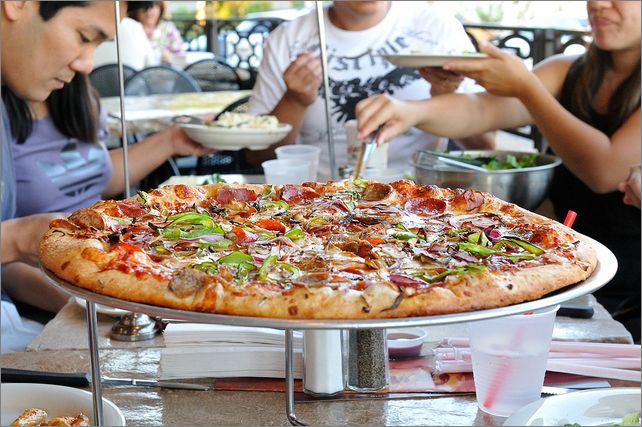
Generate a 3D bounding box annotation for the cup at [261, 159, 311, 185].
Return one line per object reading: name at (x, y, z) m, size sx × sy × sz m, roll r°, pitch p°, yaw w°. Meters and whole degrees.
cup at (-0.147, -0.181, 2.202) m, size 0.175 × 0.102 × 0.158 m, roll -1°, pitch 7°, yaw -6°

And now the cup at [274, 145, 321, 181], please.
cup at (-0.096, -0.247, 2.380) m, size 0.215 × 0.127 × 0.180 m, roll -7°, pitch 19°, yaw -24°

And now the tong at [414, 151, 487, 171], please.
tong at (0.550, -0.223, 2.227) m, size 0.266 × 0.056 × 0.027 m, roll 15°, pitch 48°, yaw 7°

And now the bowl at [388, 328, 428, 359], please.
bowl at (0.230, 0.362, 1.437) m, size 0.133 × 0.047 × 0.120 m, roll -5°, pitch 5°, yaw -17°
